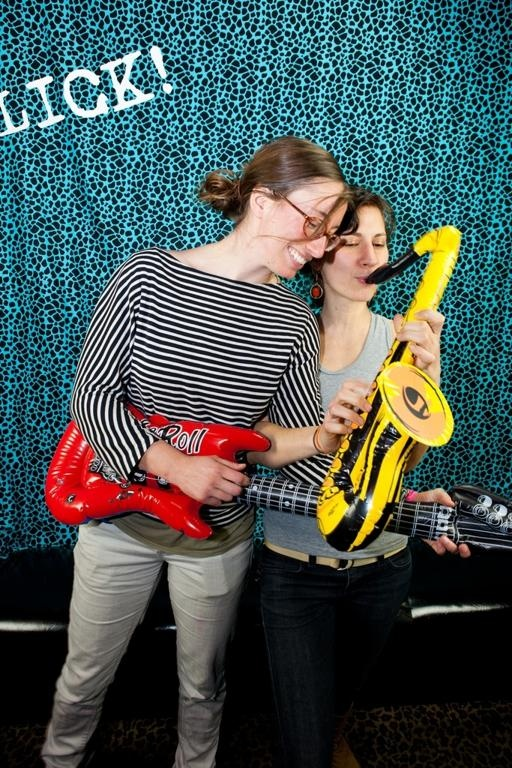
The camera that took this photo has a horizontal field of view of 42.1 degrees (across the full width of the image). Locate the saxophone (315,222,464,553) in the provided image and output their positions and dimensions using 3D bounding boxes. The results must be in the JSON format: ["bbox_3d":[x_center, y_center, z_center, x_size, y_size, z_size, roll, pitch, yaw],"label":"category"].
[{"bbox_3d":[0.181,0.020,1.230,0.242,0.590,0.220,8,-10,9],"label":"saxophone"}]

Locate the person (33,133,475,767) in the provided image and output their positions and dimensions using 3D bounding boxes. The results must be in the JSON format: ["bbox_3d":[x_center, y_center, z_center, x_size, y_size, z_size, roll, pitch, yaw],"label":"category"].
[{"bbox_3d":[-0.065,0.203,1.678,0.727,1.418,0.694,1,7,-40],"label":"person"}]

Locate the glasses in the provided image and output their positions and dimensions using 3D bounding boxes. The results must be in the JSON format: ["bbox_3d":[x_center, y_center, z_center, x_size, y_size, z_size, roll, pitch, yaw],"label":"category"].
[{"bbox_3d":[0.110,-0.349,1.437,0.115,0.104,0.136,10,19,-14],"label":"glasses"}]

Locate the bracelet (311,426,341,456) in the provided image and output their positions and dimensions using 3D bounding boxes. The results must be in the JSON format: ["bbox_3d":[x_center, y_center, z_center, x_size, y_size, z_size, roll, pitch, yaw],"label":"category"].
[{"bbox_3d":[0.149,0.125,1.432,0.052,0.066,0.019,24,59,3],"label":"bracelet"}]
